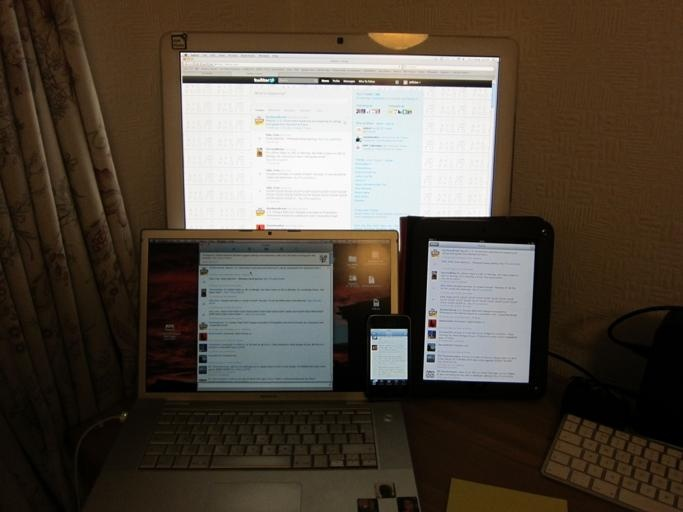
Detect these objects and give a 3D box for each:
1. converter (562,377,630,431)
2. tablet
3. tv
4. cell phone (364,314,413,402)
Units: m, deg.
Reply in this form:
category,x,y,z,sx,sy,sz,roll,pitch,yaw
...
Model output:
category,x,y,z,sx,sy,sz,roll,pitch,yaw
converter,0.507,0.268,1.228,0.128,0.076,0.145,5,25,17
tablet,0.281,0.112,1.238,0.292,0.373,0.038,1,6,0
tv,-0.006,-0.269,1.298,0.751,0.408,0.059,0,15,-1
cell phone,0.096,0.197,1.205,0.092,0.167,0.018,-1,-22,7
